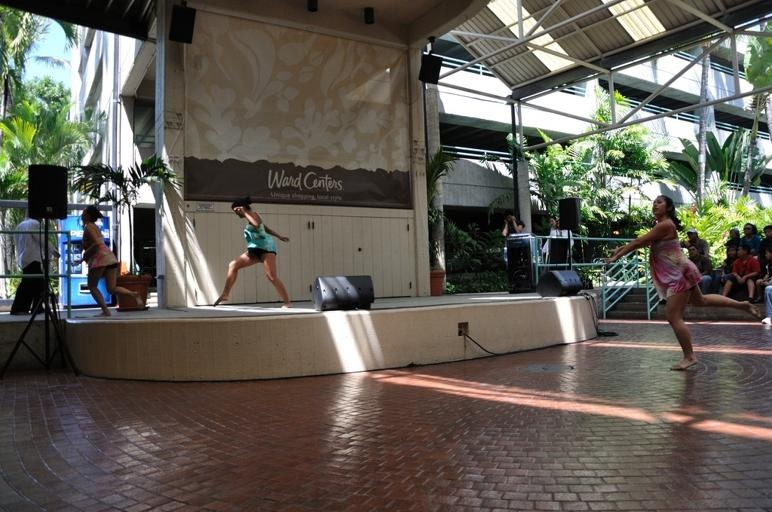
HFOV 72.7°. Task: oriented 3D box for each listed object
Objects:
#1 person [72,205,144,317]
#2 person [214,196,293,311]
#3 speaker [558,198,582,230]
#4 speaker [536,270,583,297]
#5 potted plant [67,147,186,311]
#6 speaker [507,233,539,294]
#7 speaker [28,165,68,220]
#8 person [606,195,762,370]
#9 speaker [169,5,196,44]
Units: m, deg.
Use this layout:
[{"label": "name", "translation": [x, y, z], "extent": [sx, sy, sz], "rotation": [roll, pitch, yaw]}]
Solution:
[{"label": "person", "translation": [-4.279, 0.043, 8.177], "extent": [0.794, 1.814, 1.130], "rotation": [-2, 0, -28]}, {"label": "person", "translation": [-2.038, -0.046, 8.277], "extent": [0.751, 1.756, 0.950], "rotation": [-2, 0, -43]}, {"label": "speaker", "translation": [3.812, -0.880, 10.956], "extent": [0.396, 0.688, 0.519], "rotation": [-2, 0, 16]}, {"label": "speaker", "translation": [3.197, 0.506, 9.605], "extent": [0.783, 0.451, 0.444], "rotation": [-2, 0, -13]}, {"label": "potted plant", "translation": [-4.423, -0.716, 9.184], "extent": [1.735, 1.799, 1.402], "rotation": [-10, -27, -5]}, {"label": "speaker", "translation": [3.199, 0.176, 12.289], "extent": [0.351, 1.370, 1.022], "rotation": [-2, 0, -15]}, {"label": "speaker", "translation": [-4.823, -0.916, 7.533], "extent": [0.478, 0.839, 0.280], "rotation": [-2, 0, -34]}, {"label": "person", "translation": [3.499, 0.319, 6.429], "extent": [1.370, 2.016, 0.702], "rotation": [-2, 0, -26]}, {"label": "speaker", "translation": [-3.408, -3.963, 8.825], "extent": [0.399, 0.670, 0.284], "rotation": [-2, 0, -24]}]
